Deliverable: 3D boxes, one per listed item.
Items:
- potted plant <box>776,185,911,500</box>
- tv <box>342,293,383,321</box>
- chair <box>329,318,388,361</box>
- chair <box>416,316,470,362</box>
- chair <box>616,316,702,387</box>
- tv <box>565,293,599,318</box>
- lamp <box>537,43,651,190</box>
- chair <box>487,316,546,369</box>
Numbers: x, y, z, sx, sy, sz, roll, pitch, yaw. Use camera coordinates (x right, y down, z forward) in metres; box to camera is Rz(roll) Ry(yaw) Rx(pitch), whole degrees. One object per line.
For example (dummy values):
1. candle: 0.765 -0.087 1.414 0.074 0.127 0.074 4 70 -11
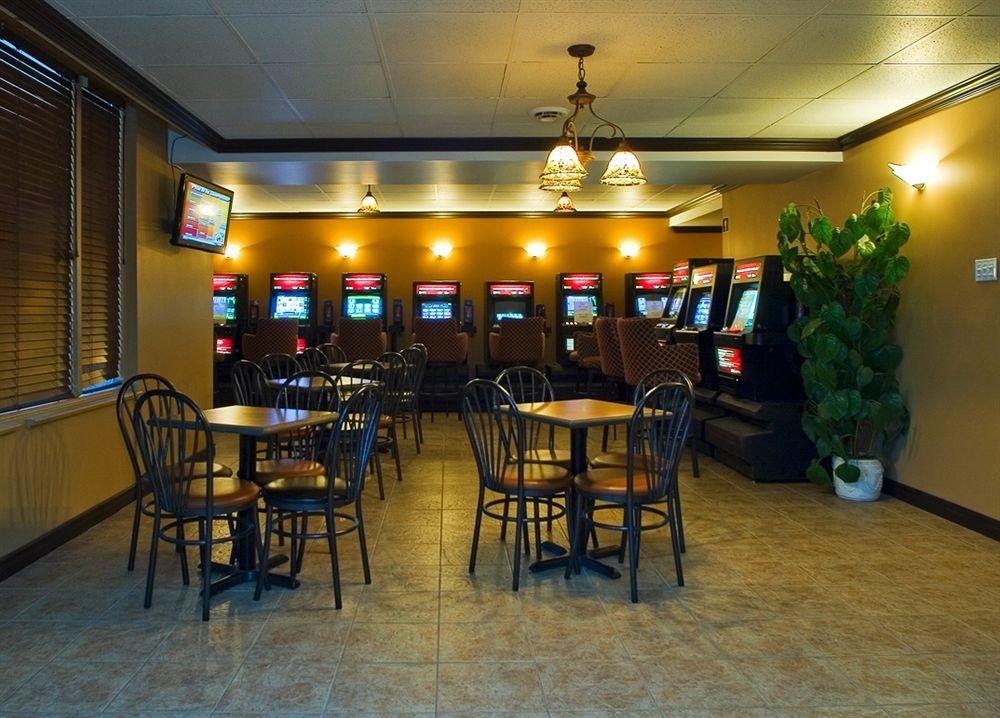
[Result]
1. potted plant: 2.990 -0.137 6.198 1.134 2.604 1.123 2 12 6
2. tv: -2.348 -0.869 12.283 0.954 0.452 0.650 0 13 5
3. chair: -2.061 -0.286 10.855 0.924 0.933 0.751 1 6 0
4. chair: -0.886 -0.303 10.653 0.690 0.539 0.654 2 5 8
5. chair: 1.823 0.025 8.198 0.886 0.805 0.645 3 -9 14
6. tv: 1.389 -0.937 12.346 0.771 0.480 0.368 0 0 -2
7. lamp: 0.627 -1.846 5.339 0.810 0.994 0.865 7 18 25
8. chair: 0.247 -0.276 11.113 0.806 0.978 0.824 0 8 -1
